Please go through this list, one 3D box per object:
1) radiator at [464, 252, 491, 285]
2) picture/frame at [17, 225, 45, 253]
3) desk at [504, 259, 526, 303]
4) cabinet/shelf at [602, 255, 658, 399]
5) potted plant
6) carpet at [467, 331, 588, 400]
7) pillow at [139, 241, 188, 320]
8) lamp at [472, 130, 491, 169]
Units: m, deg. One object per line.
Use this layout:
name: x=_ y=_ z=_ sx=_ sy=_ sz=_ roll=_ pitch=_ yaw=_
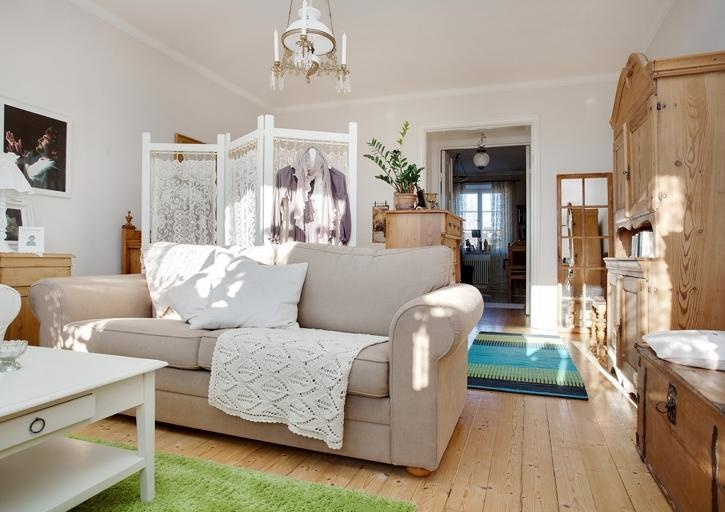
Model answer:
radiator: x=2.623 y=0.275 z=11.203 sx=0.620 sy=0.739 sz=0.148 roll=4 pitch=3 yaw=16
picture/frame: x=-2.782 y=-0.135 z=4.160 sx=0.026 sy=0.345 sz=0.241 roll=-11 pitch=-7 yaw=40
desk: x=2.905 y=0.475 z=9.351 sx=0.328 sy=0.635 sz=1.008 roll=3 pitch=10 yaw=17
cabinet/shelf: x=1.879 y=0.497 z=3.467 sx=0.311 sy=0.902 sz=1.001 roll=0 pitch=-2 yaw=16
potted plant: x=0.359 y=-0.882 z=4.966 sx=0.465 sy=0.854 sz=0.688 roll=-4 pitch=8 yaw=20
carpet: x=1.445 y=0.965 z=4.545 sx=0.954 sy=0.192 sz=1.757 roll=3 pitch=10 yaw=16
pillow: x=-1.471 y=0.183 z=3.671 sx=0.141 sy=0.519 sz=0.410 roll=-3 pitch=5 yaw=-39
lamp: x=1.794 y=-1.594 z=7.451 sx=0.226 sy=0.539 sz=0.228 roll=-3 pitch=9 yaw=-26
